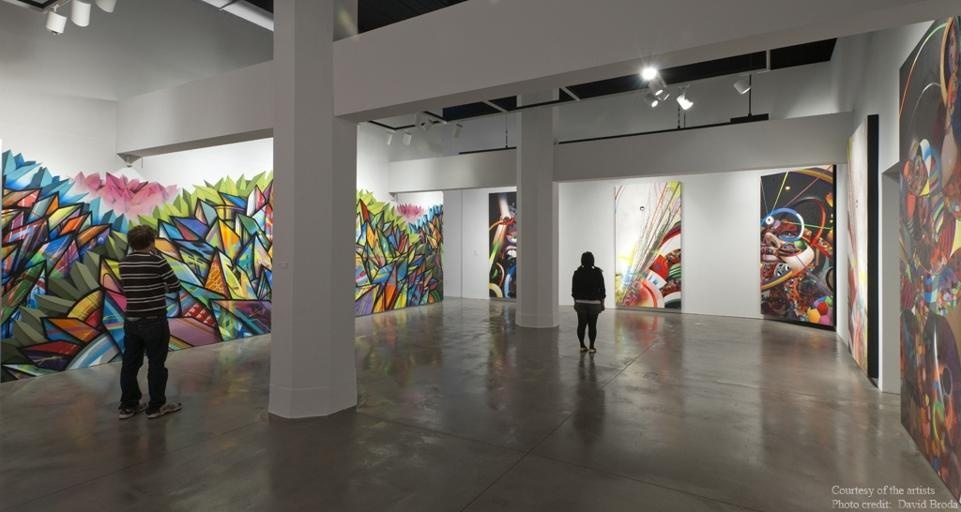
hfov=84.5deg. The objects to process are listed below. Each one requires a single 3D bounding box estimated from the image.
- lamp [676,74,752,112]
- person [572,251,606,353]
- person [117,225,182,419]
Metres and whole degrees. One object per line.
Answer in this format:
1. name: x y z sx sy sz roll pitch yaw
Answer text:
1. lamp: 5.625 -3.919 12.649 1.309 1.181 0.509 -15 15 -36
2. person: 2.161 0.878 10.719 0.581 1.966 1.160 1 7 10
3. person: -4.990 1.177 7.881 0.897 2.409 0.452 0 7 -4
